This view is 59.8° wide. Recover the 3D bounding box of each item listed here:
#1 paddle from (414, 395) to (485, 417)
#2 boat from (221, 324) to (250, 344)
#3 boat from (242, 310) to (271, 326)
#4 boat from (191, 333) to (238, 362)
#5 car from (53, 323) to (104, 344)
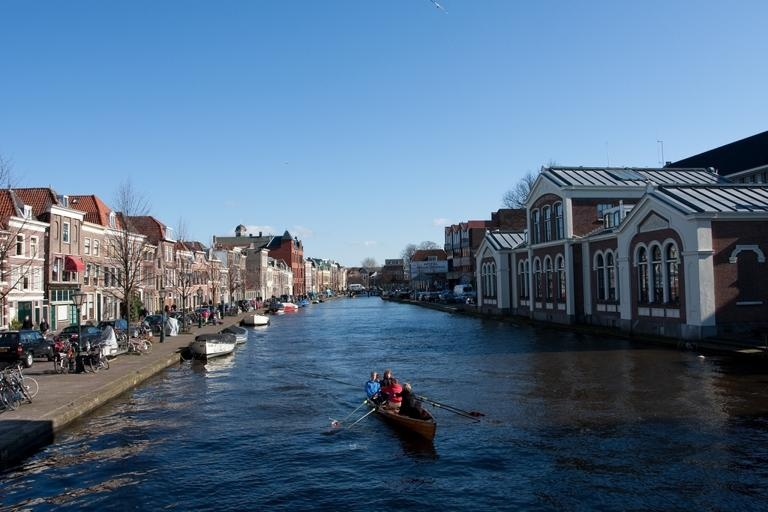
[{"bbox_3d":[2.604,6.351,27.825,3.086,0.208,0.843,-5,23,36],"label":"paddle"},{"bbox_3d":[-11.568,6.106,51.691,1.864,0.933,5.156,-1,-3,-10],"label":"boat"},{"bbox_3d":[-13.474,6.736,69.985,2.289,1.087,3.442,0,1,-11],"label":"boat"},{"bbox_3d":[-11.121,5.864,43.651,1.191,1.592,2.803,1,7,29],"label":"boat"},{"bbox_3d":[-18.723,4.762,41.098,1.788,1.011,3.440,1,1,-3],"label":"car"}]
